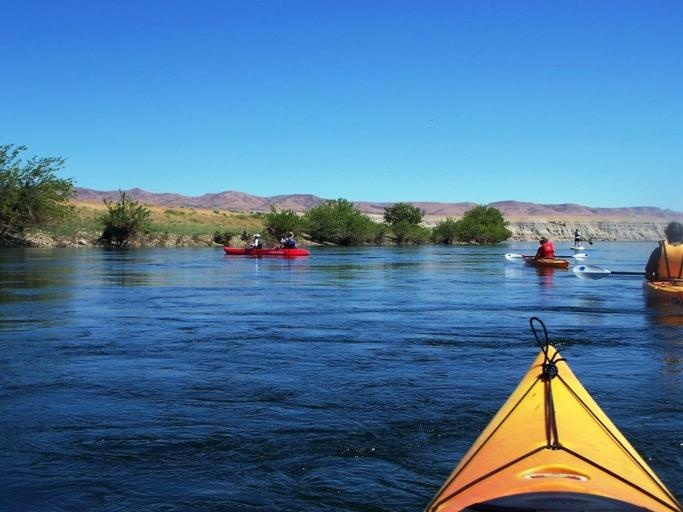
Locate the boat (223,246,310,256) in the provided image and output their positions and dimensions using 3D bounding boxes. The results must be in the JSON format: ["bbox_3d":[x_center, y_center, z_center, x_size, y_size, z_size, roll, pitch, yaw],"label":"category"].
[{"bbox_3d":[-6.796,-0.300,54.472,8.136,0.808,1.398,1,2,33],"label":"boat"}]

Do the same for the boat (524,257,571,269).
[{"bbox_3d":[13.322,0.467,39.907,1.069,0.557,3.786,-4,6,-24],"label":"boat"}]
